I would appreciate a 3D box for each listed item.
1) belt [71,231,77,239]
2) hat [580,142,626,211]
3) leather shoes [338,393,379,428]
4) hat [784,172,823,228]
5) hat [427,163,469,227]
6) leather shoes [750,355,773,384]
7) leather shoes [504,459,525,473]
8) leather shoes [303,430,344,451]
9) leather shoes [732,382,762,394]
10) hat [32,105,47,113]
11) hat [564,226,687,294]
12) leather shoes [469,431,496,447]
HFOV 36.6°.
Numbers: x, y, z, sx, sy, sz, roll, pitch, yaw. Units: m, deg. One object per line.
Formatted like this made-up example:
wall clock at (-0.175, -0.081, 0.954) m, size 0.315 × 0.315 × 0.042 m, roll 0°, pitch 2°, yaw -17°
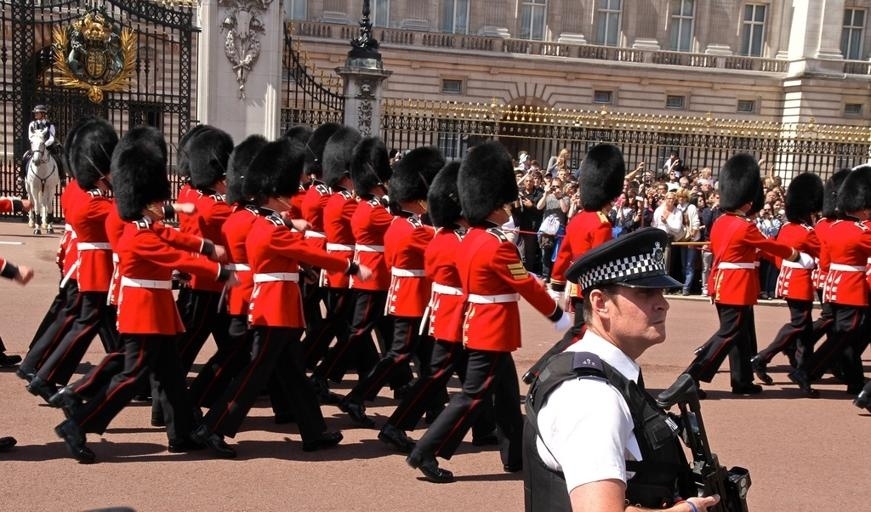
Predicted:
belt at (-4.760, -0.273, 17.226) m, size 0.116 × 0.110 × 0.034 m, roll 0°, pitch 5°, yaw 23°
hat at (2.249, -1.066, 17.887) m, size 0.663 × 0.810 × 0.264 m, roll 3°, pitch -9°, yaw 38°
leather shoes at (-1.012, 1.973, 16.904) m, size 0.635 × 0.290 × 0.212 m, roll 44°, pitch -12°, yaw -26°
hat at (5.265, -0.807, 18.742) m, size 0.561 × 0.687 × 0.199 m, roll 12°, pitch -1°, yaw 27°
hat at (0.114, -0.730, 16.347) m, size 0.564 × 0.703 × 0.242 m, roll 4°, pitch -1°, yaw 40°
leather shoes at (4.552, 1.582, 18.384) m, size 0.205 × 0.418 × 0.139 m, roll -35°, pitch 4°, yaw 12°
leather shoes at (0.956, 2.581, 16.163) m, size 0.291 × 0.086 × 0.153 m, roll -2°, pitch 2°, yaw -13°
leather shoes at (-1.408, 2.312, 16.462) m, size 0.567 × 0.232 × 0.201 m, roll -11°, pitch 8°, yaw -17°
leather shoes at (4.284, 1.810, 18.031) m, size 0.455 × 0.162 × 0.150 m, roll -2°, pitch 1°, yaw -7°
hat at (-7.364, -2.727, 24.321) m, size 0.238 × 0.099 × 0.295 m, roll -1°, pitch -9°, yaw 0°
hat at (2.037, 0.104, 14.297) m, size 1.317 × 0.526 × 1.133 m, roll -10°, pitch -5°, yaw 31°
leather shoes at (0.604, 2.299, 16.576) m, size 0.365 × 0.214 × 0.154 m, roll -3°, pitch 5°, yaw -12°
